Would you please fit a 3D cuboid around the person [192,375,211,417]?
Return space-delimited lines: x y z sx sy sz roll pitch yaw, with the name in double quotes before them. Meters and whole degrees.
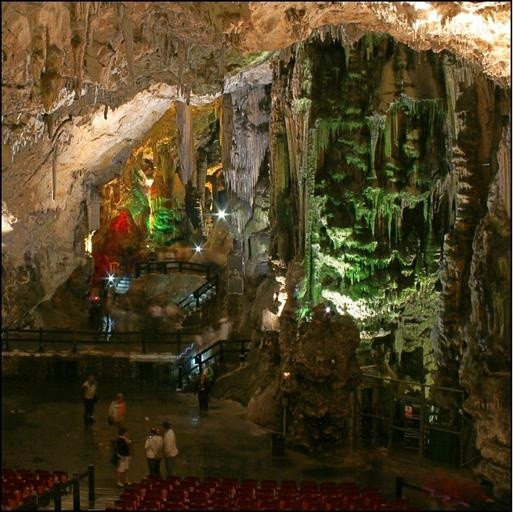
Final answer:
"person" -1.243 3.163 20.341 0.357 0.989 0.283 -3 12 0

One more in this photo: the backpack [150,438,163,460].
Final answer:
"backpack" -1.668 3.277 14.863 0.205 0.326 0.105 2 5 -11

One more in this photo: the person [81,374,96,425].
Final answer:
"person" -3.581 3.056 18.806 0.288 1.050 1.416 4 -3 -10

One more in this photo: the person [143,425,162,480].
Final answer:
"person" -1.750 3.374 15.002 0.282 0.925 0.298 -2 18 -12
